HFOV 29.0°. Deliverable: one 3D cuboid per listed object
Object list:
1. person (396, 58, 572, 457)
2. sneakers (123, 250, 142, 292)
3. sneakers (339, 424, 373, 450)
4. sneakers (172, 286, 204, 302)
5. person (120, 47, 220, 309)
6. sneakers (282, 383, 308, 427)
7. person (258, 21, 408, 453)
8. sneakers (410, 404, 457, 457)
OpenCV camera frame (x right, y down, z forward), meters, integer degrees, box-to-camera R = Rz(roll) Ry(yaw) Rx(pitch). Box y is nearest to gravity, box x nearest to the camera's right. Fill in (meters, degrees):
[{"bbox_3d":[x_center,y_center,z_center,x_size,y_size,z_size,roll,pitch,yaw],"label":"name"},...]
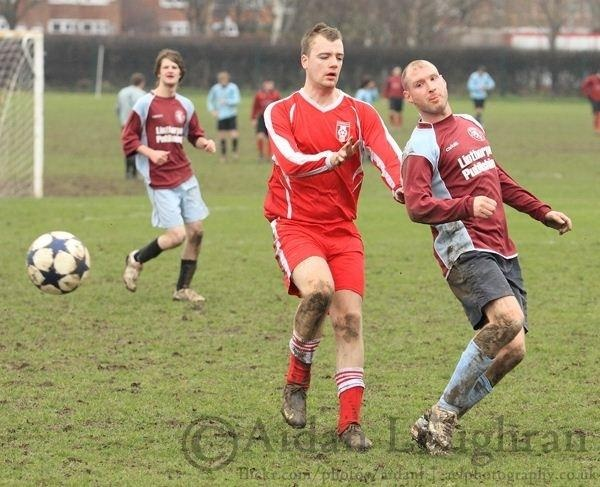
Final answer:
[{"bbox_3d":[1.333,0.082,8.936,1.077,2.922,0.787,0,9,5],"label":"person"},{"bbox_3d":[-1.664,0.294,11.618,0.184,0.442,0.149,-1,-3,44],"label":"sneakers"},{"bbox_3d":[0.427,1.490,8.934,0.111,0.128,0.287,-8,5,-22],"label":"sneakers"},{"bbox_3d":[-1.111,0.502,11.613,0.256,0.112,0.140,1,5,-2],"label":"sneakers"},{"bbox_3d":[-1.329,-0.628,11.401,0.829,2.472,0.502,-2,9,-9],"label":"person"},{"bbox_3d":[-0.042,1.293,9.271,0.197,0.306,0.293,-1,9,-2],"label":"sneakers"},{"bbox_3d":[0.249,-0.132,9.215,1.095,3.169,1.001,0,9,1],"label":"person"},{"bbox_3d":[1.038,1.407,8.816,0.189,0.248,0.512,43,-10,-23],"label":"sneakers"}]
